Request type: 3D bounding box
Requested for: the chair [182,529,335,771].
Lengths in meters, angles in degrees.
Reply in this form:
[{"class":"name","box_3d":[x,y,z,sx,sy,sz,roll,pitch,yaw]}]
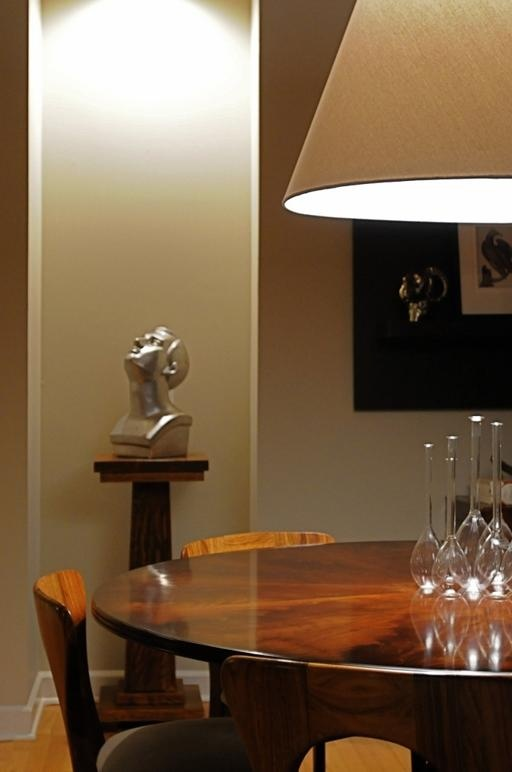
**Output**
[{"class":"chair","box_3d":[-0.019,0.670,2.035,0.477,0.609,0.408,0,4,-12]}]
